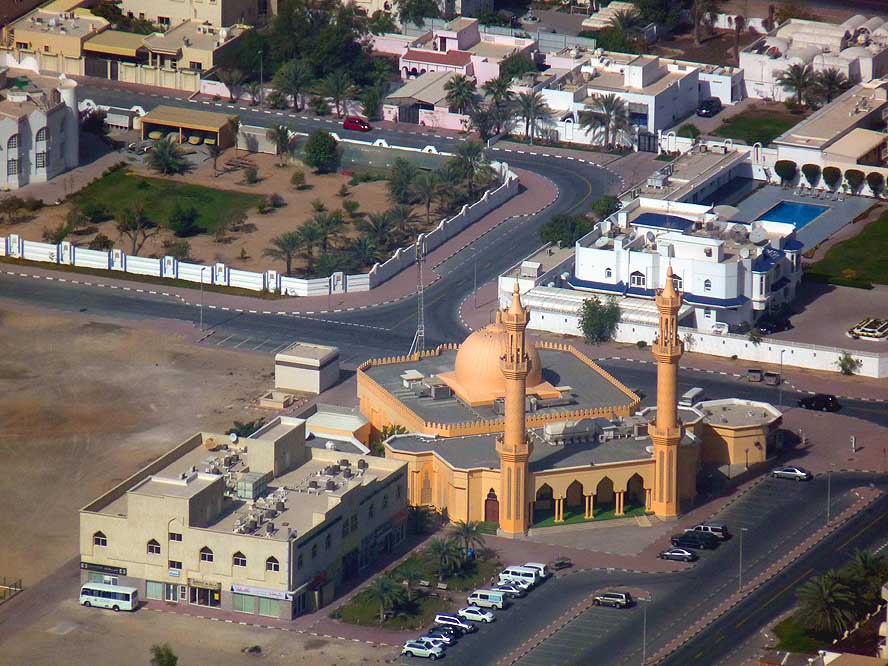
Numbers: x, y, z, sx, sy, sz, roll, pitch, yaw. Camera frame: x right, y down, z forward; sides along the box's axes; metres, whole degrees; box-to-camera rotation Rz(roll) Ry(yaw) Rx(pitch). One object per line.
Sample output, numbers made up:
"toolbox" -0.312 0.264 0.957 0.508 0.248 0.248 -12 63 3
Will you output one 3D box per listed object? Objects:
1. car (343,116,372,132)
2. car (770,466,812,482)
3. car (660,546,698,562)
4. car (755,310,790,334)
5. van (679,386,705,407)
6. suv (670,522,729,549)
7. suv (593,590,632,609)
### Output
"car" -11.587 -25.062 364.096 3.013 1.386 1.881 0 21 4
"car" 34.085 13.834 290.774 2.924 0.927 1.558 6 10 15
"car" 21.799 20.775 278.986 2.795 0.837 1.476 7 14 13
"car" 35.222 -0.881 318.800 2.306 1.274 3.527 3 10 23
"van" 24.760 6.566 300.796 1.197 1.160 3.502 14 22 25
"suv" 23.886 19.322 280.701 4.161 1.483 2.419 3 19 9
"suv" 15.147 24.334 272.433 2.699 1.029 1.685 10 11 11
